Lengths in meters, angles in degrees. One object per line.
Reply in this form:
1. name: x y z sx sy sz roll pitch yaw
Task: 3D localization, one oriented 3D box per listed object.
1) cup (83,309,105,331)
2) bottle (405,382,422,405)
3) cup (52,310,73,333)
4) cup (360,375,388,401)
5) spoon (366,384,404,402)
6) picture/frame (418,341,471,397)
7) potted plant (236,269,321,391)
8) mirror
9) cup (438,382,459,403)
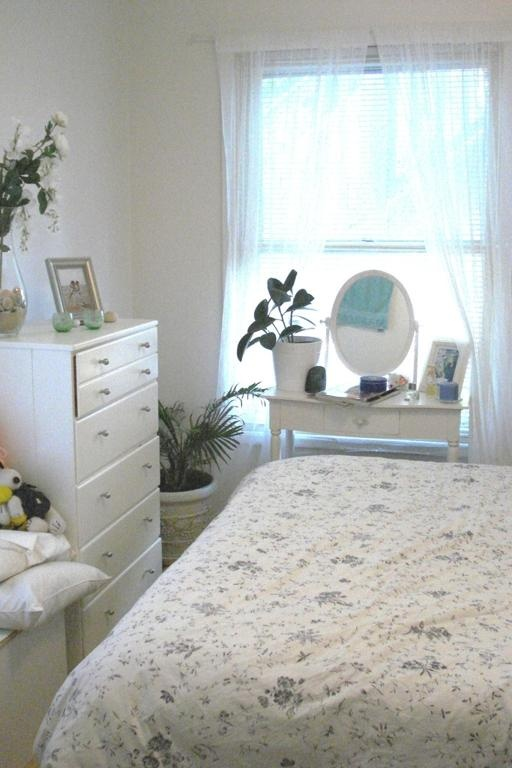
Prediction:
1. cup: -0.528 -0.208 2.101 0.063 0.059 0.062 1 0 0
2. bottle: 0.659 0.043 2.716 0.104 0.104 0.060 2 -2 -30
3. cup: -0.590 -0.192 1.983 0.061 0.060 0.058 -1 1 0
4. cup: 0.486 0.013 2.687 0.100 0.072 0.101 1 0 0
5. spoon: 0.519 0.047 2.681 0.093 0.023 0.086 -24 7 -26
6. picture/frame: 0.811 -0.066 2.780 0.227 0.309 0.034 8 -20 26
7. potted plant: 0.104 -0.247 2.909 0.353 0.518 0.515 -1 10 1
8. mirror: 0.521 -0.278 2.884 0.507 0.591 0.041 -1 9 10
9. cup: 0.778 0.032 2.632 0.080 0.078 0.067 2 10 15
